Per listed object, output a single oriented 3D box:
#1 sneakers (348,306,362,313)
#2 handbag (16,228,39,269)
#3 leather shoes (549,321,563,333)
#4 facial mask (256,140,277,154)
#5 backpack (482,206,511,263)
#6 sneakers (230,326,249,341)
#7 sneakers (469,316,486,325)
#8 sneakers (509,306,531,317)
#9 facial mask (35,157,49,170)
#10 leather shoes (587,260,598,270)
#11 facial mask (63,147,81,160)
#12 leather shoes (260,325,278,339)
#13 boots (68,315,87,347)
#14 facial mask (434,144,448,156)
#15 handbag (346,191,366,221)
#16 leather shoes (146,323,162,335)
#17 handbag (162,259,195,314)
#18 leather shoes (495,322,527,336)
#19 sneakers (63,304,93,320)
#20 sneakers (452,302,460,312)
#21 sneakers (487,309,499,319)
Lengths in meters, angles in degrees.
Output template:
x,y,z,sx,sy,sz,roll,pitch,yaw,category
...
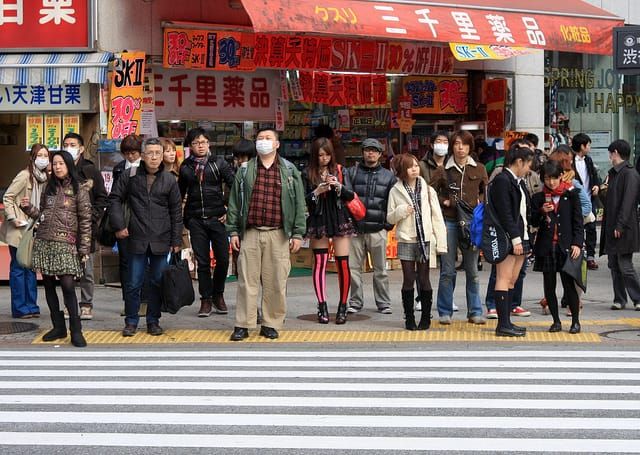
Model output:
x,y,z,sx,sy,sz,roll,pitch,yaw,category
0.506,1.191,10.129,0.205,0.089,0.086,14,-11,-37,sneakers
-3.626,0.262,8.616,0.236,0.549,0.537,9,-6,-14,handbag
3.015,1.285,8.887,0.087,0.101,0.238,-4,-8,25,leather shoes
-0.668,-0.984,8.511,0.165,0.119,0.182,1,-2,5,facial mask
2.137,0.067,8.542,0.141,0.681,0.379,-8,-9,-44,backpack
-0.998,1.329,8.624,0.103,0.220,0.313,-1,-6,30,sneakers
2.164,1.268,9.510,0.098,0.106,0.265,0,-4,-21,sneakers
2.872,1.194,9.908,0.315,0.124,0.127,1,6,-22,sneakers
-3.784,-0.877,9.426,0.202,0.177,0.212,0,7,-16,facial mask
5.384,0.736,13.757,0.145,0.186,0.435,0,-3,-11,leather shoes
-3.297,-0.994,9.204,0.185,0.155,0.184,5,-39,5,facial mask
-0.659,1.321,8.759,0.104,0.129,0.281,-3,2,-35,leather shoes
-2.986,1.271,8.570,0.193,0.393,0.315,-2,5,-20,boots
1.694,-1.088,9.695,0.146,0.106,0.163,0,9,0,facial mask
0.484,-0.288,9.394,0.163,0.334,0.273,-23,16,16,handbag
-2.117,1.314,8.927,0.100,0.099,0.249,0,-6,-28,leather shoes
-1.789,0.721,8.751,0.390,0.655,0.260,-3,5,-27,handbag
2.402,1.286,8.691,0.419,0.166,0.159,-1,8,-11,leather shoes
-3.436,1.216,9.932,0.211,0.252,0.622,3,-8,-19,sneakers
1.998,1.171,10.185,0.117,0.151,0.347,0,-4,2,sneakers
2.427,1.214,9.762,0.094,0.089,0.227,-1,5,2,sneakers
